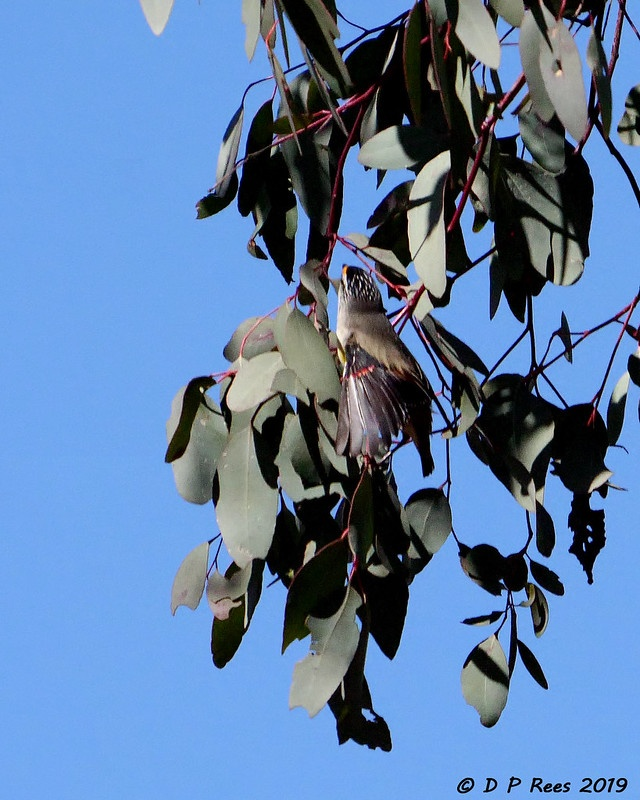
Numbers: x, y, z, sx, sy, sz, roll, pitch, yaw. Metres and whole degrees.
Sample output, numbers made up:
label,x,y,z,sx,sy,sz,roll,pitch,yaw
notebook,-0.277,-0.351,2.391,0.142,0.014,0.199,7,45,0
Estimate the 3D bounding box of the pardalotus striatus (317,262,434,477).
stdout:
label,x,y,z,sx,sy,sz,roll,pitch,yaw
pardalotus striatus,0.046,-0.035,1.740,0.092,0.221,0.107,-1,-26,-34
